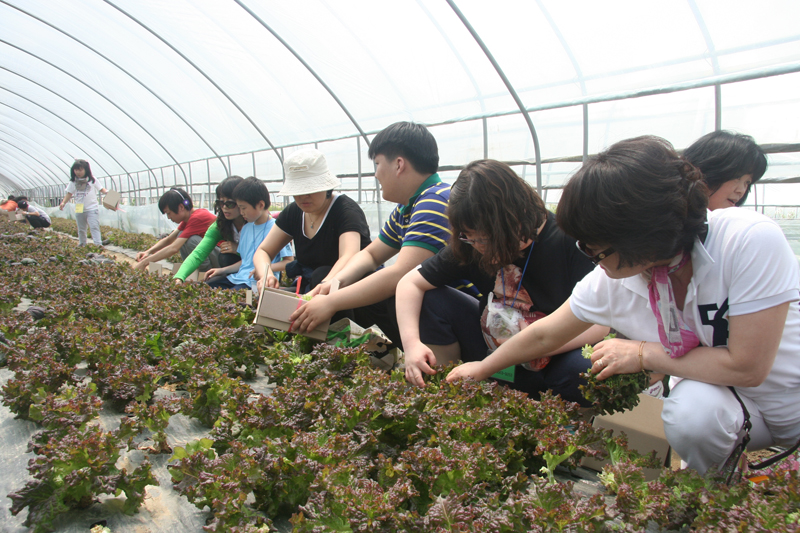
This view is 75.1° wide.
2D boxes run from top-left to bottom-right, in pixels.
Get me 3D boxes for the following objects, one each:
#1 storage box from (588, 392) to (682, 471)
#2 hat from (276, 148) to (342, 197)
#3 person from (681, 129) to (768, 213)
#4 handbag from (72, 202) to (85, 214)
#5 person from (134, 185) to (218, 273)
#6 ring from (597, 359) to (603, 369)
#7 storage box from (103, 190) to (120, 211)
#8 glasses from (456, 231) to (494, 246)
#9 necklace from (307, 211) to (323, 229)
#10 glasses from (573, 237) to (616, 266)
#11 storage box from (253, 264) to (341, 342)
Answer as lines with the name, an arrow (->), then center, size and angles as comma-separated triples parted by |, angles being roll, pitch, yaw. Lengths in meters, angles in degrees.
storage box -> 1.560, 1.044, 3.427 | 0.486, 0.320, 0.513 | -4, -40, 49
hat -> -1.048, -1.053, 5.674 | 0.708, 0.400, 0.835 | 8, 23, 20
person -> 2.841, -0.783, 4.683 | 0.633, 0.756, 0.635 | 22, 13, 15
handbag -> -8.896, -1.611, 14.425 | 0.305, 0.311, 0.101 | -3, -6, 0
person -> -3.909, -0.600, 9.028 | 1.639, 1.379, 1.156 | -15, 16, -30
ring -> 1.249, 0.611, 3.270 | 0.013, 0.038, 0.040 | -36, 55, -23
storage box -> -8.307, -1.875, 14.890 | 0.379, 0.548, 1.116 | -7, 11, -31
glasses -> 0.508, -0.178, 3.662 | 0.135, 0.041, 0.132 | 31, -4, -28
necklace -> -0.978, -0.505, 5.782 | 0.150, 0.206, 0.074 | 2, 10, -7
glasses -> 1.091, -0.082, 2.905 | 0.189, 0.150, 0.115 | 2, 10, 19
storage box -> -0.949, 0.304, 4.303 | 0.456, 0.216, 0.467 | 13, 24, 22
